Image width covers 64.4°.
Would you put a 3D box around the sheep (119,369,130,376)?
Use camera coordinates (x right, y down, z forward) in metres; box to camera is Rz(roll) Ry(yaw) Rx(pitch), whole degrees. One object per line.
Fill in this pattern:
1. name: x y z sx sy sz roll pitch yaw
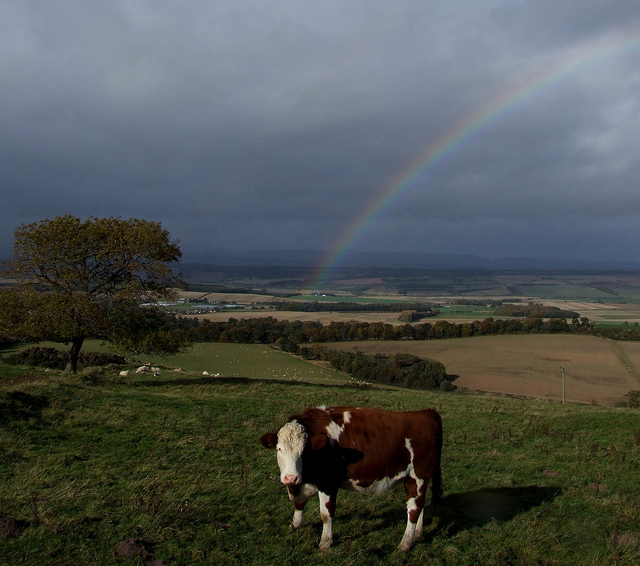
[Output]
1. sheep: -12.984 6.019 33.642 0.815 0.414 0.273 -3 4 23
